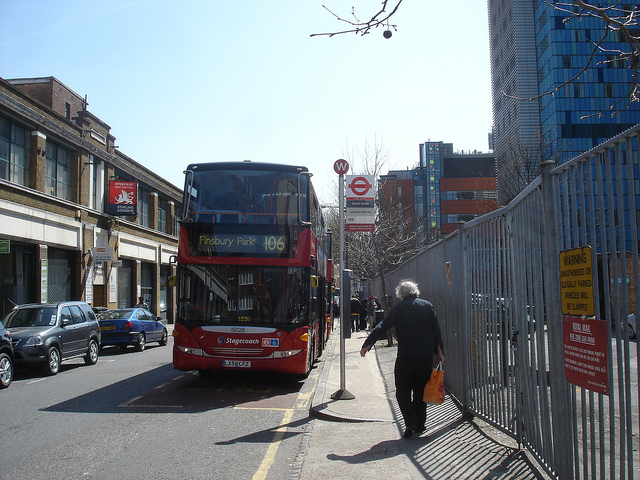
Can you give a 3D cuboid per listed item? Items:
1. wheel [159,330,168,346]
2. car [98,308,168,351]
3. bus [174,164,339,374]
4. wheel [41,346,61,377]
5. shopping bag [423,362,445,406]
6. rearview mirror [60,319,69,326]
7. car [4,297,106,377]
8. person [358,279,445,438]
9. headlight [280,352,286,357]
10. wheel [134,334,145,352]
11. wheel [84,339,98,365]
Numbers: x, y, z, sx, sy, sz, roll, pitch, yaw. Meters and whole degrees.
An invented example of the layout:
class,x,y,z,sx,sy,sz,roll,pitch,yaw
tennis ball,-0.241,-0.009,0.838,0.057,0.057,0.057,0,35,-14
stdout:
class,x,y,z,sx,sy,sz,roll,pitch,yaw
wheel,-6.345,3.938,23.779,0.272,0.652,0.538,1,-3,-21
car,-6.932,3.309,21.910,1.138,1.503,3.026,-1,-4,12
bus,-1.627,0.661,12.762,2.853,4.364,1.061,0,-2,-13
wheel,-6.949,3.115,15.153,0.262,0.760,0.782,-1,-3,6
shopping bag,1.648,1.994,8.389,0.243,0.674,0.402,14,5,20
rearview mirror,-6.944,2.239,15.980,0.142,0.089,0.227,-1,-5,-4
car,-7.481,2.648,16.125,1.649,1.853,3.816,-1,-4,5
person,1.288,1.725,8.635,1.082,2.211,0.789,0,-2,-4
headlight,-0.777,2.404,12.365,0.106,0.094,0.024,1,-3,-23
wheel,-6.534,3.691,21.284,0.182,0.665,0.584,-4,-6,9
wheel,-6.766,3.303,17.459,0.238,0.721,0.744,-1,-3,3
